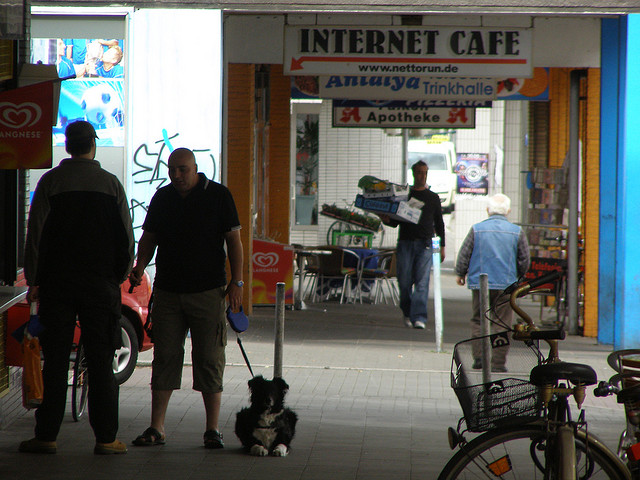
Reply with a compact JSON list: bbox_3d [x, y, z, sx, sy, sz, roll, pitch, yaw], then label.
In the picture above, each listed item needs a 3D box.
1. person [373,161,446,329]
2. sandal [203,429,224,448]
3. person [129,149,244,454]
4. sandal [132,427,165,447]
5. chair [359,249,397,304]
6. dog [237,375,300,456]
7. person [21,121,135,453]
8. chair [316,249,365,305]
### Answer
[{"bbox_3d":[1.307,0.097,12.657,0.778,2.331,0.730,2,4,5],"label":"person"},{"bbox_3d":[-0.840,1.554,7.231,0.102,0.101,0.299,1,-6,-4],"label":"sandal"},{"bbox_3d":[-1.043,0.456,7.242,0.840,2.310,0.332,2,4,-2],"label":"person"},{"bbox_3d":[-1.348,1.547,7.274,0.249,0.120,0.108,6,0,-30],"label":"sandal"},{"bbox_3d":[0.998,0.670,15.368,0.713,1.224,0.917,2,1,-3],"label":"chair"},{"bbox_3d":[-0.414,1.420,7.263,0.578,0.605,1.011,-2,-17,-5],"label":"dog"},{"bbox_3d":[-1.835,0.362,6.989,0.810,2.497,0.362,1,4,-14],"label":"person"},{"bbox_3d":[0.301,0.563,15.204,0.662,0.978,0.705,3,6,10],"label":"chair"}]
